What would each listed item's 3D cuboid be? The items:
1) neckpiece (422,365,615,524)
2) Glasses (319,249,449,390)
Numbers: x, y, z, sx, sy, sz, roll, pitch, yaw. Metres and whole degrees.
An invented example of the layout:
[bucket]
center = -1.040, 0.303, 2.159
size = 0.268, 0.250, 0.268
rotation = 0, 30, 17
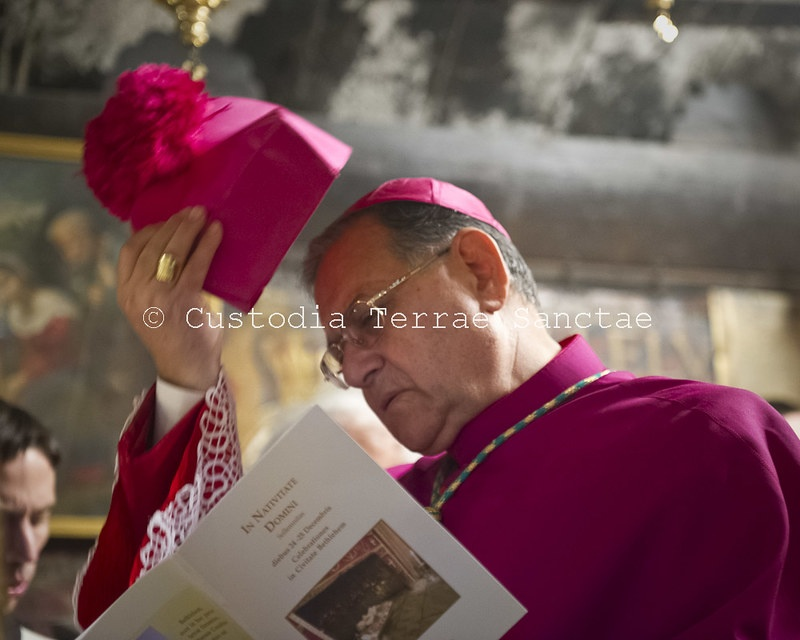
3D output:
[neckpiece]
center = 0.219, 0.221, 1.958
size = 0.055, 0.055, 0.419
rotation = 21, 44, 32
[Glasses]
center = -0.074, -0.045, 2.093
size = 0.254, 0.248, 0.079
rotation = -34, 79, -18
